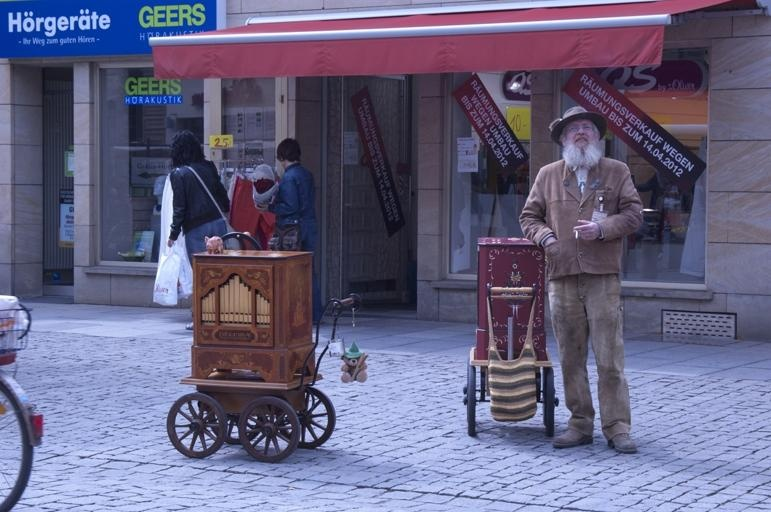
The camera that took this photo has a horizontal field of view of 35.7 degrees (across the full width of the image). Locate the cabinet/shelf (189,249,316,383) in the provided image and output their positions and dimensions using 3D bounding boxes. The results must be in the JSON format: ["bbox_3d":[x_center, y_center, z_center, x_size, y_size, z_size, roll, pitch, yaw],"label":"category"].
[{"bbox_3d":[-1.238,0.510,10.412,0.837,1.047,0.602,1,5,10],"label":"cabinet/shelf"}]

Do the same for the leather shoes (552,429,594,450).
[{"bbox_3d":[1.641,1.633,10.496,0.322,0.162,0.150,2,-4,-14],"label":"leather shoes"}]

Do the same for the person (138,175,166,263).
[{"bbox_3d":[-3.476,-0.549,17.983,0.347,1.312,0.164,4,8,32],"label":"person"}]

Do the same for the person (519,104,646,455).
[{"bbox_3d":[1.749,0.193,10.508,1.027,2.971,0.664,2,7,17],"label":"person"}]

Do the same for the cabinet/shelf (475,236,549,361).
[{"bbox_3d":[1.101,0.486,10.987,0.770,1.179,0.813,-1,1,3],"label":"cabinet/shelf"}]

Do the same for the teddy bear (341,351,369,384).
[{"bbox_3d":[-0.276,1.035,10.576,0.285,0.354,0.231,1,-21,-6],"label":"teddy bear"}]

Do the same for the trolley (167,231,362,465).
[{"bbox_3d":[-1.006,0.788,10.449,1.543,1.949,0.978,1,2,11],"label":"trolley"}]

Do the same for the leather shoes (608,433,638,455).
[{"bbox_3d":[2.056,1.651,10.345,0.123,0.127,0.276,-3,-4,-24],"label":"leather shoes"}]
